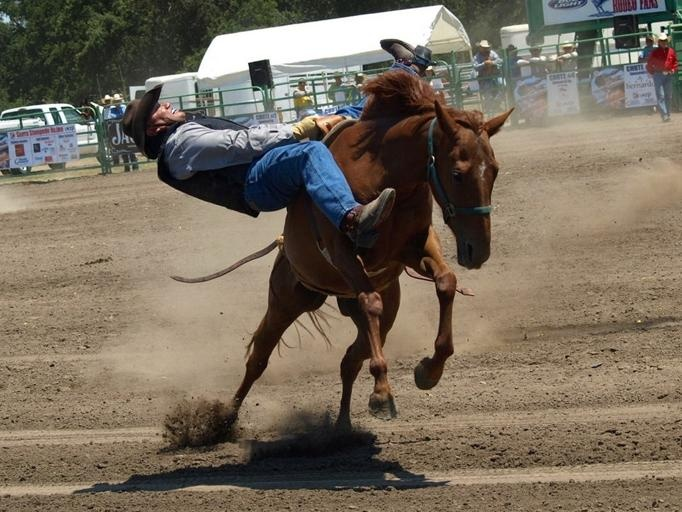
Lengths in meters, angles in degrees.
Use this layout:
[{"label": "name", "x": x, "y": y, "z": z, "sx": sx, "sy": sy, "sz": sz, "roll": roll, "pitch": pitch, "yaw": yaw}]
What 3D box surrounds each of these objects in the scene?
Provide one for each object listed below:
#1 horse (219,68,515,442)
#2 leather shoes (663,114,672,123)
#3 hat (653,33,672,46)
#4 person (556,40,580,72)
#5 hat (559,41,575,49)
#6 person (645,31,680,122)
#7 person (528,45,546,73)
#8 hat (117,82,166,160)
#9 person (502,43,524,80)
[{"label": "horse", "x": 0.248, "y": 0.129, "z": 15.954, "sx": 1.808, "sy": 4.280, "sz": 5.777, "roll": 6, "pitch": -18, "yaw": -24}, {"label": "leather shoes", "x": 6.869, "y": -2.900, "z": 25.733, "sx": 0.104, "sy": 0.126, "sz": 0.268, "roll": -4, "pitch": 0, "yaw": -8}, {"label": "hat", "x": 7.084, "y": -4.759, "z": 26.873, "sx": 0.398, "sy": 0.186, "sz": 0.537, "roll": 2, "pitch": -12, "yaw": 3}, {"label": "person", "x": 5.180, "y": -4.576, "z": 27.991, "sx": 0.479, "sy": 0.611, "sz": 1.456, "roll": -6, "pitch": 10, "yaw": 12}, {"label": "hat", "x": 5.232, "y": -4.836, "z": 28.115, "sx": 0.298, "sy": 0.121, "sz": 0.351, "roll": -1, "pitch": -3, "yaw": -2}, {"label": "person", "x": 6.935, "y": -3.843, "z": 26.187, "sx": 0.648, "sy": 1.736, "sz": 1.266, "roll": -6, "pitch": 10, "yaw": 11}, {"label": "person", "x": 4.534, "y": -4.517, "z": 28.193, "sx": 0.365, "sy": 0.633, "sz": 1.462, "roll": -6, "pitch": 10, "yaw": 10}, {"label": "hat", "x": -2.402, "y": -1.707, "z": 15.476, "sx": 0.306, "sy": 0.807, "sz": 0.706, "roll": 15, "pitch": 42, "yaw": -22}, {"label": "person", "x": 3.903, "y": -4.394, "z": 27.880, "sx": 0.218, "sy": 1.006, "sz": 0.577, "roll": -5, "pitch": 26, "yaw": -4}]
